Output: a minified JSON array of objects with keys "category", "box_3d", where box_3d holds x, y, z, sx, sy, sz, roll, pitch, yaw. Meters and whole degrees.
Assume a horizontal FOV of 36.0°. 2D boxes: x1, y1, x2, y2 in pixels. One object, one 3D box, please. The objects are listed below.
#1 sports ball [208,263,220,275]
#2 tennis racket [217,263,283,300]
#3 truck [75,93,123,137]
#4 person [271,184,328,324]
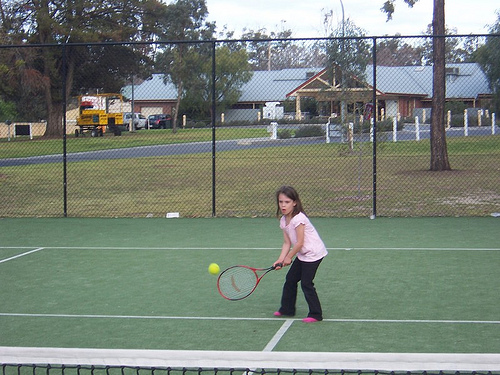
[{"category":"sports ball","box_3d":[-0.491,1.102,10.189,0.155,0.156,0.181,0,8,26]},{"category":"tennis racket","box_3d":[-0.140,1.254,10.251,0.461,0.403,0.750,-5,9,-7]},{"category":"truck","box_3d":[-4.831,-2.241,24.019,0.945,1.191,1.861,-5,6,-41]},{"category":"person","box_3d":[0.586,0.864,9.942,0.902,1.708,0.787,0,-1,-43]}]
